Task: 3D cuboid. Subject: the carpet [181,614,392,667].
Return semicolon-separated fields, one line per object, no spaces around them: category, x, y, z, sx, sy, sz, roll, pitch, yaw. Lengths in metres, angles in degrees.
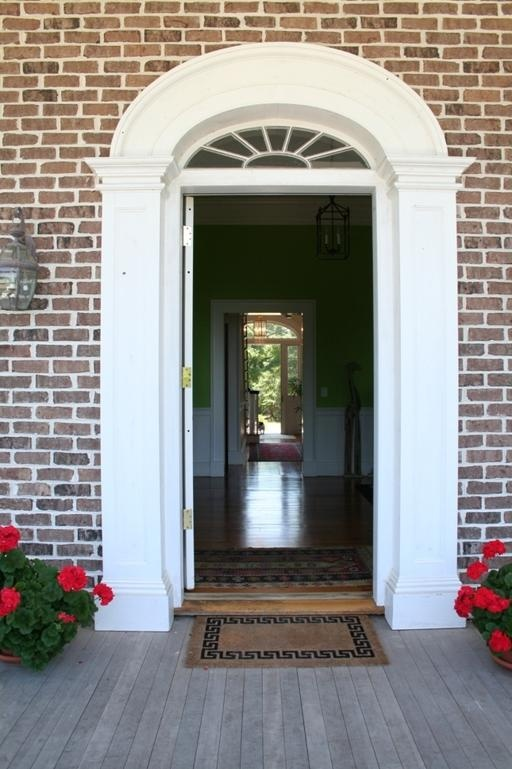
carpet;0.121;1.112;2.995;0.822;0.017;0.497;0;4;0

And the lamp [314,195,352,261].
lamp;0.793;-1.681;7.184;0.395;0.689;0.425;-2;3;-10

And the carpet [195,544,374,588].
carpet;0.155;1.055;3.992;1.028;0.068;0.864;0;4;-1
